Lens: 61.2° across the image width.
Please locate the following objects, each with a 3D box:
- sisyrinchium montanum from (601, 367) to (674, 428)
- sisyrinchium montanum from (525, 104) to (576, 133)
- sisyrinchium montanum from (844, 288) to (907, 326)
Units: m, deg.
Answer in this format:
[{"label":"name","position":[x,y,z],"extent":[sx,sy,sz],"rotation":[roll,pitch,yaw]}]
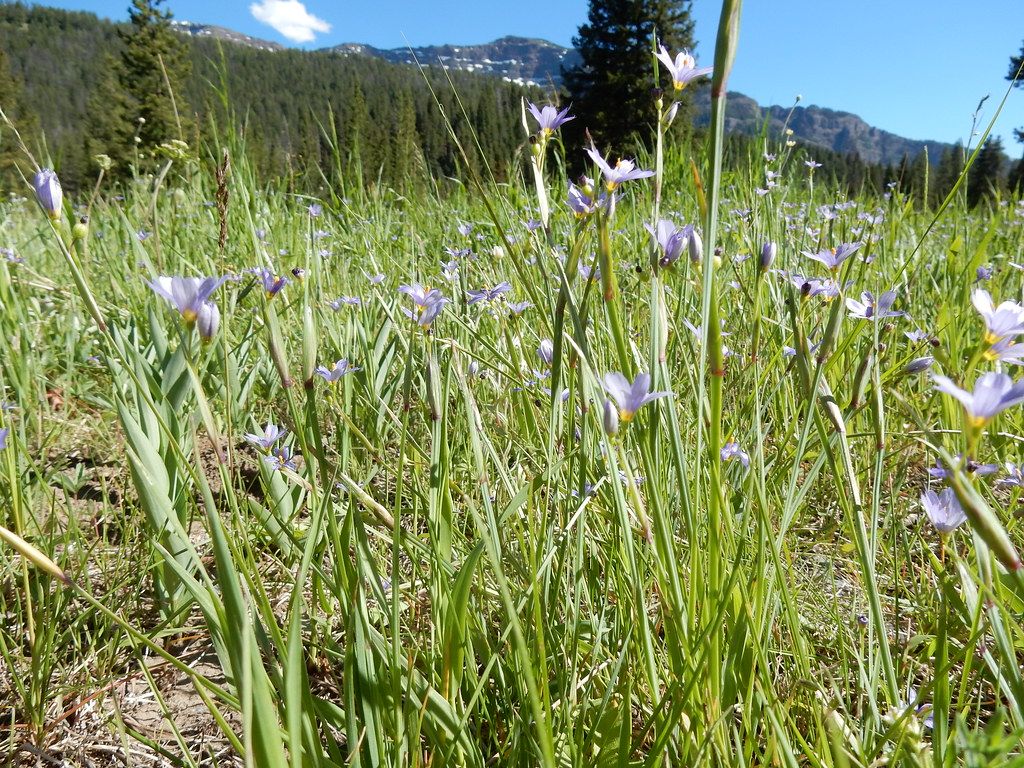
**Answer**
[{"label":"sisyrinchium montanum","position":[0.278,0.018,1.962],"extent":[0.105,0.070,0.114],"rotation":[14,-2,-2]},{"label":"sisyrinchium montanum","position":[0.100,-0.734,2.382],"extent":[0.088,0.073,0.112],"rotation":[0,20,-9]},{"label":"sisyrinchium montanum","position":[1.195,-0.247,2.844],"extent":[0.146,0.099,0.176],"rotation":[-12,26,11]}]
